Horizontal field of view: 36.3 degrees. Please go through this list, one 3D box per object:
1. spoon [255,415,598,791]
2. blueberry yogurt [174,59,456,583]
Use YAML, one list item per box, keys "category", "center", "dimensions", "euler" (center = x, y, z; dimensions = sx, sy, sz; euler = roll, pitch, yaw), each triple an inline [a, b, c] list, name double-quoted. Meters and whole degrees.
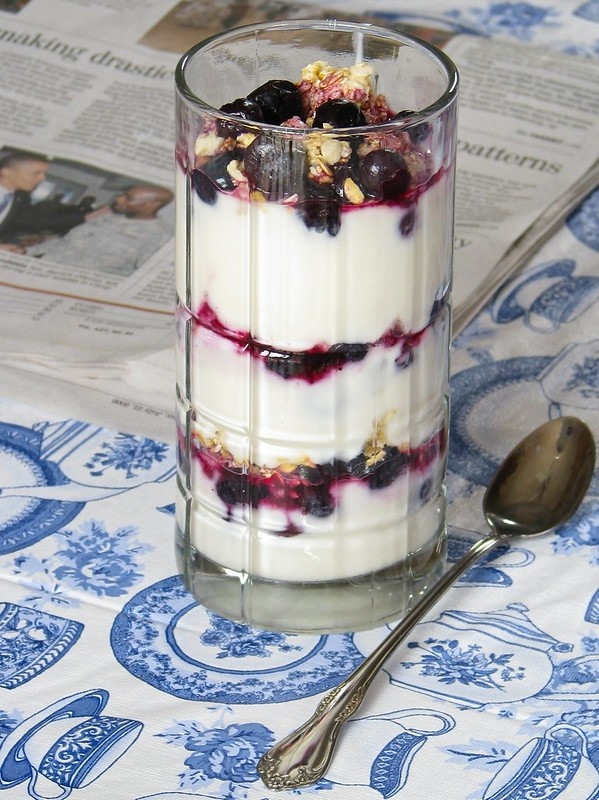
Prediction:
- category: "spoon"
  center: [0.097, 0.063, 0.493]
  dimensions: [0.067, 0.047, 0.355]
  euler: [28, 48, 32]
- category: "blueberry yogurt"
  center: [-0.001, -0.018, 0.387]
  dimensions: [0.123, 0.201, 0.075]
  euler: [2, 25, 7]
